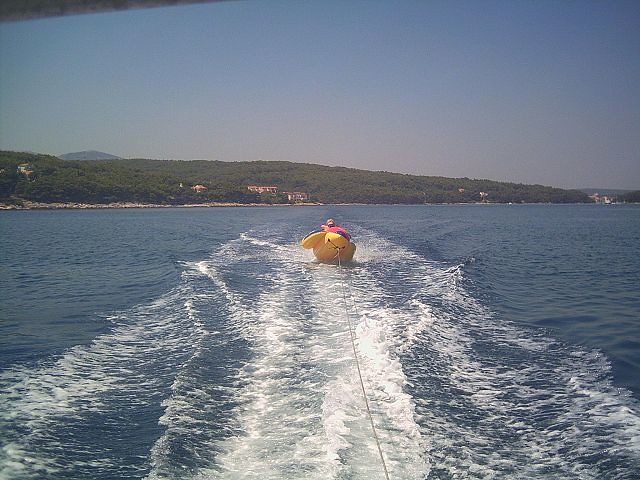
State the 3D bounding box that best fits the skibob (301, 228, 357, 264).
[{"bbox_3d":[0.332,0.212,18.792,1.415,1.085,0.738,9,16,40],"label":"skibob"}]
